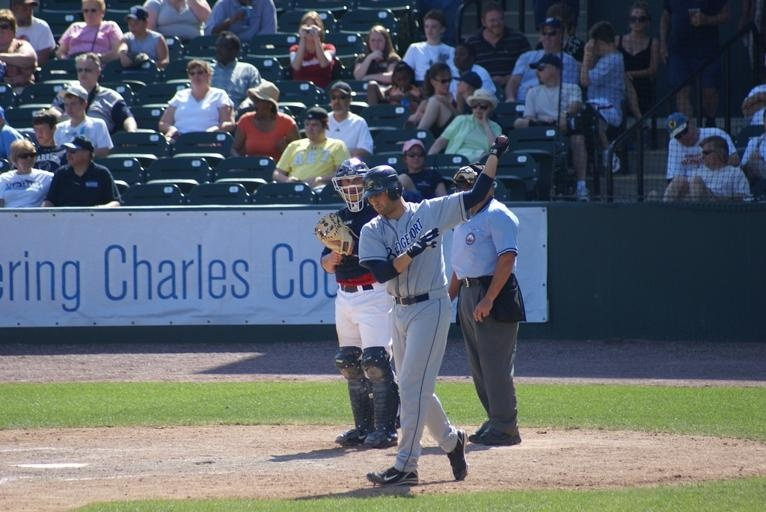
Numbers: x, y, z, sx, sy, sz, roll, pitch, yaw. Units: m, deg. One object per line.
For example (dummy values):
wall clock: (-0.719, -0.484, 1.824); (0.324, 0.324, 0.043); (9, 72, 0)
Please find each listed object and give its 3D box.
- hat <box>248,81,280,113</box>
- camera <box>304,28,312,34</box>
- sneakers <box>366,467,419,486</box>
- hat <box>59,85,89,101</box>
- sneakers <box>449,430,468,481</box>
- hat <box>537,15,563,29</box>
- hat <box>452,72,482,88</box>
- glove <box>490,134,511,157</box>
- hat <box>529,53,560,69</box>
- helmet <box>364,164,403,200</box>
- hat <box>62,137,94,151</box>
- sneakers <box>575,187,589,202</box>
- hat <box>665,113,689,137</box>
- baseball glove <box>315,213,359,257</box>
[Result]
hat: (-1.873, -2.638, 29.748); (0.400, 0.288, 0.523); (18, -16, 44)
camera: (-1.314, -3.878, 31.400); (0.094, 0.088, 0.023); (4, 6, 18)
sneakers: (0.129, 2.841, 23.427); (0.697, 0.280, 0.255); (4, -2, -7)
hat: (-5.152, -2.731, 30.231); (0.330, 0.238, 0.454); (4, -18, 21)
sneakers: (0.981, 2.569, 23.453); (0.226, 0.642, 0.285); (3, 7, 41)
hat: (2.772, -3.832, 29.930); (0.376, 0.152, 0.266); (3, 6, 2)
hat: (1.437, -2.880, 29.937); (0.327, 0.172, 0.235); (25, 13, -7)
glove: (1.542, -1.435, 23.836); (0.201, 0.348, 0.096); (31, 1, 11)
hat: (2.685, -3.177, 29.857); (0.425, 0.212, 0.274); (-1, 5, 0)
helmet: (-0.041, -0.955, 23.540); (0.483, 0.355, 0.376); (-20, 15, -35)
hat: (-4.800, -1.734, 28.517); (0.367, 0.180, 0.231); (4, 5, -16)
sneakers: (3.133, -0.959, 28.493); (0.189, 0.304, 0.190); (2, -4, -14)
hat: (4.588, -2.024, 28.258); (0.369, 0.381, 0.281); (1, 24, 46)
baseball glove: (-0.653, -0.245, 24.449); (0.619, 0.400, 0.262); (40, -11, -5)
